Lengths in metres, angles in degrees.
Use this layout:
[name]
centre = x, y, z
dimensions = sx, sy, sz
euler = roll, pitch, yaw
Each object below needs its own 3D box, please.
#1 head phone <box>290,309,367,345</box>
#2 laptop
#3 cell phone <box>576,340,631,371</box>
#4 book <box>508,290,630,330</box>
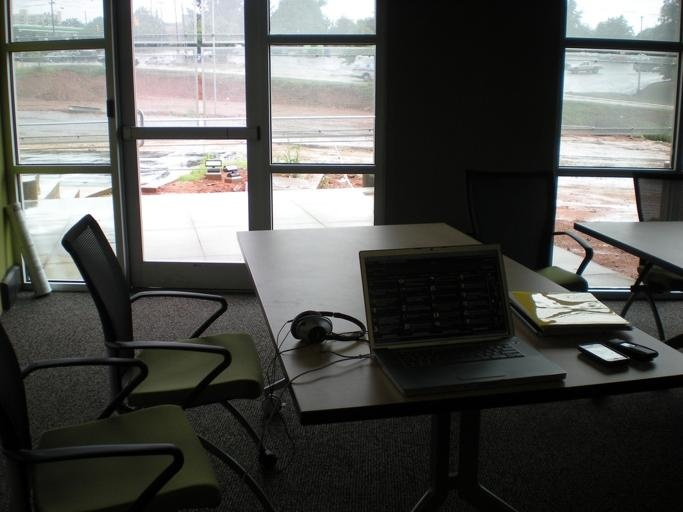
[head phone]
centre = -0.028, 0.227, 1.993
dimensions = 0.246, 0.102, 0.276
euler = 2, 17, 12
[laptop]
centre = 0.341, 0.197, 1.822
dimensions = 0.569, 0.304, 0.481
euler = -5, 17, -18
[cell phone]
centre = 0.849, 0.315, 1.803
dimensions = 0.108, 0.034, 0.159
euler = -8, 17, -19
[book]
centre = 0.828, 0.197, 2.071
dimensions = 0.408, 0.031, 0.363
euler = 3, 17, 4
